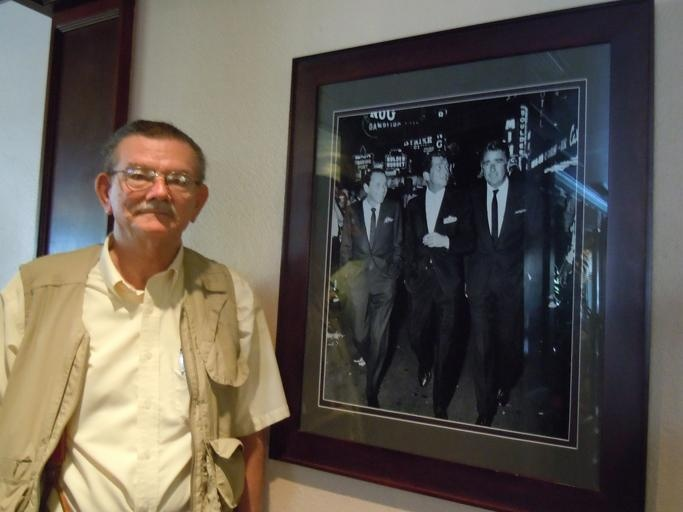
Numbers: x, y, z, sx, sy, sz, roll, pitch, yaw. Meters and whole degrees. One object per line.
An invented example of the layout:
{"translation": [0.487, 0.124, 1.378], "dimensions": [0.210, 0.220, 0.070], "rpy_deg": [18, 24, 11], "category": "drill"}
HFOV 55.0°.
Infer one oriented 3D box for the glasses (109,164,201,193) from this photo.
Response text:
{"translation": [-0.500, -0.203, 1.784], "dimensions": [0.234, 0.063, 0.094], "rpy_deg": [0, 2, -23], "category": "glasses"}
